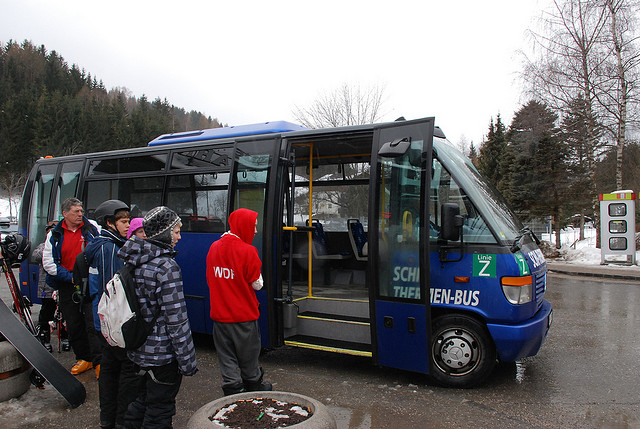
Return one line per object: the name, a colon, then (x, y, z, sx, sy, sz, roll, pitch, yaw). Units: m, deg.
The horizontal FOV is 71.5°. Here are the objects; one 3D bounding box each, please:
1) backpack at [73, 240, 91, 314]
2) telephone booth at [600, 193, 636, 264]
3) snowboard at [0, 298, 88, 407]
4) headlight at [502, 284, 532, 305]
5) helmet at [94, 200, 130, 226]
backpack: (-3.481, 0.926, 6.487, 0.262, 1.142, 0.256, 4, -1, -32)
telephone booth: (12.353, 0.646, 18.386, 1.177, 2.888, 0.863, 1, 2, 34)
snowboard: (-4.261, 2.157, 6.849, 0.233, 1.625, 0.370, -31, 5, 26)
headlight: (2.927, 1.151, 6.541, 0.311, 0.209, 0.315, -5, -4, 45)
helmet: (-2.962, -0.024, 6.301, 0.424, 0.333, 0.344, -6, -3, 3)
